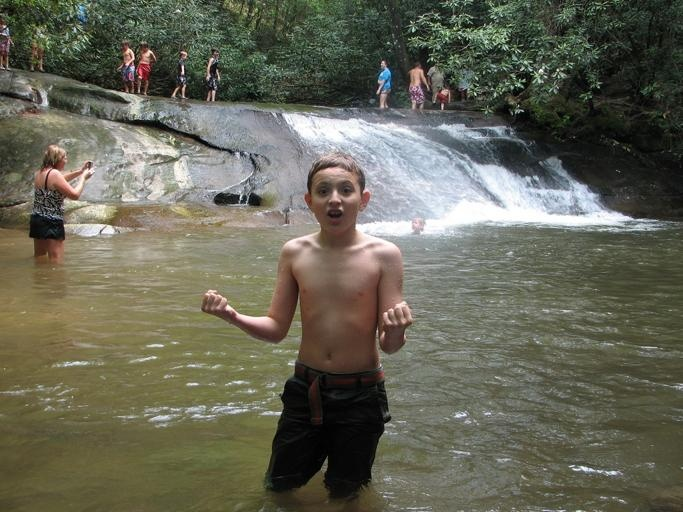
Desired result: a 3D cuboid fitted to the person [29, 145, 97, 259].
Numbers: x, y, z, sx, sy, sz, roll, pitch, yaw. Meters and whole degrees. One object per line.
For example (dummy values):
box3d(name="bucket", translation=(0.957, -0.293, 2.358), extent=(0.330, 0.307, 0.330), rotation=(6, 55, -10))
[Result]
box3d(name="person", translation=(-3.793, -0.698, 7.827), extent=(0.717, 1.501, 0.449), rotation=(8, 14, 28))

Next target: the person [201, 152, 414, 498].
box3d(name="person", translation=(-0.151, 0.398, 3.264), extent=(1.051, 1.917, 0.585), rotation=(3, 12, 4))
